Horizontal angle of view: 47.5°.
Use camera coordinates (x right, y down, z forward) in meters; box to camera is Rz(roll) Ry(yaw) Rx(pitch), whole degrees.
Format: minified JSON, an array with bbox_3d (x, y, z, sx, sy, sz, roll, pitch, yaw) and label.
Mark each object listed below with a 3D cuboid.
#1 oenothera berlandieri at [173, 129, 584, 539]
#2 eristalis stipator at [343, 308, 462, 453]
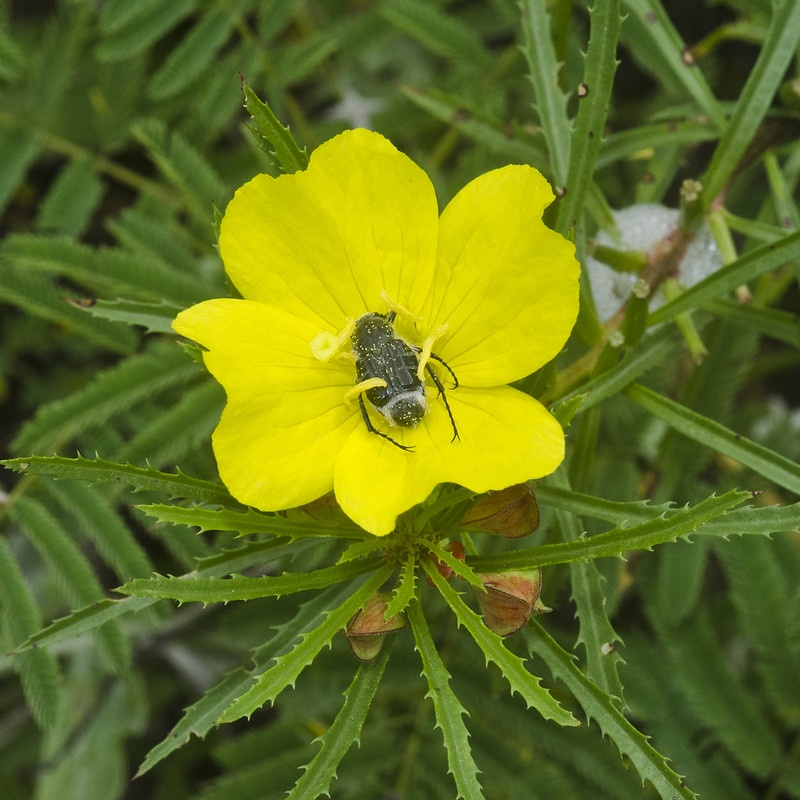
[{"bbox_3d":[-0.043,-0.125,1.783,0.745,0.232,0.769,6,81,2],"label":"oenothera berlandieri"},{"bbox_3d":[-0.007,-0.047,1.938,0.232,0.099,0.298,-25,59,1],"label":"eristalis stipator"}]
